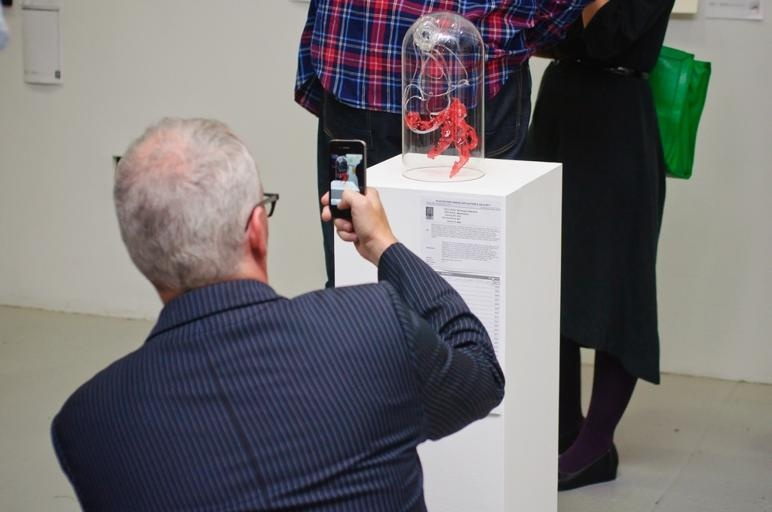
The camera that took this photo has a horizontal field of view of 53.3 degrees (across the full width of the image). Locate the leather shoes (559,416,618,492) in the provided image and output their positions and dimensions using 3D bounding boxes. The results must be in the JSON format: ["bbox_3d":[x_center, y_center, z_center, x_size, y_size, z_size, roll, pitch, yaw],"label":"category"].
[{"bbox_3d":[0.760,0.764,2.902,0.309,0.146,0.110,-9,11,-26],"label":"leather shoes"}]
